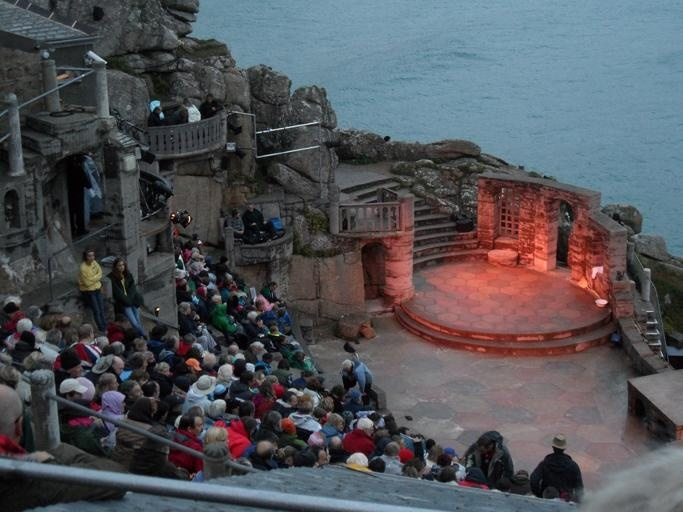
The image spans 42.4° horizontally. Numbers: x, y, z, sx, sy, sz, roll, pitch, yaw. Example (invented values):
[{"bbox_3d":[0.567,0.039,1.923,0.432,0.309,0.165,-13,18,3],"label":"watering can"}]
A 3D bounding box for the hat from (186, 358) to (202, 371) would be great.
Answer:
[{"bbox_3d":[-2.905,2.146,17.248,0.288,0.090,0.201,33,38,10],"label":"hat"}]

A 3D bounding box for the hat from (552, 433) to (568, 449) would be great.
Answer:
[{"bbox_3d":[4.239,3.663,17.089,0.330,0.213,0.418,-1,11,0],"label":"hat"}]

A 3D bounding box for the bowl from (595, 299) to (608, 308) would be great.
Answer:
[{"bbox_3d":[8.180,1.509,27.579,0.353,0.250,0.312,4,13,14],"label":"bowl"}]

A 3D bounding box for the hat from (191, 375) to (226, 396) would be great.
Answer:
[{"bbox_3d":[-2.478,2.413,16.348,0.493,0.146,0.504,2,30,-1],"label":"hat"}]

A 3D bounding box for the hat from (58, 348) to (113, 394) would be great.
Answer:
[{"bbox_3d":[-4.535,1.952,15.184,0.871,0.504,0.598,12,32,25],"label":"hat"}]

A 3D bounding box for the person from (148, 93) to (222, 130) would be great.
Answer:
[{"bbox_3d":[-4.959,-4.284,27.163,1.317,0.558,1.617,-24,16,-34],"label":"person"}]
